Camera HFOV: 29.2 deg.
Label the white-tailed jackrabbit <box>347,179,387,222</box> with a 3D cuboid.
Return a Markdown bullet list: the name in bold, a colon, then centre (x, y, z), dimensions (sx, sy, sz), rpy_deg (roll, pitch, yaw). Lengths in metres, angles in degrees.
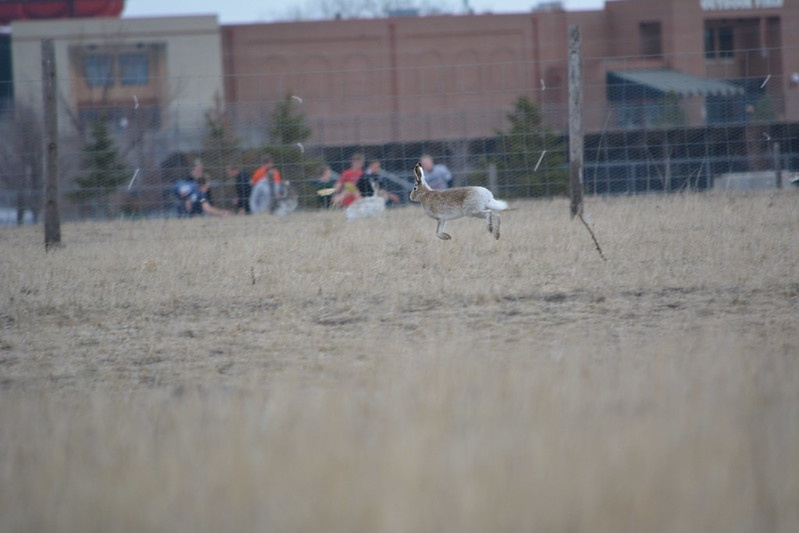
- **white-tailed jackrabbit**: centre (-0.580, -1.063, 24.171), dimensions (0.753, 0.775, 0.446), rpy_deg (-10, 6, -19)

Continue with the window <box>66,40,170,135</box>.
- **window**: centre (-4.399, -2.784, 24.657), dimensions (1.819, 1.698, 0.907), rpy_deg (-1, 4, 5)

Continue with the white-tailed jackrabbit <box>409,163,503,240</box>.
- **white-tailed jackrabbit**: centre (0.766, -0.909, 21.554), dimensions (1.483, 1.138, 0.470), rpy_deg (-3, -1, 29)

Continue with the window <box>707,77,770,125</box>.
- **window**: centre (5.369, -2.563, 24.389), dimensions (0.829, 0.778, 0.207), rpy_deg (3, -2, 26)

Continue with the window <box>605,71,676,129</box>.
- **window**: centre (3.710, -2.589, 24.123), dimensions (0.893, 1.005, 0.229), rpy_deg (-3, -7, -11)

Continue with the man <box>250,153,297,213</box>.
- **man**: centre (-1.995, -1.312, 24.345), dimensions (0.553, 0.654, 1.018), rpy_deg (-5, 15, 2)

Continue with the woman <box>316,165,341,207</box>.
- **woman**: centre (-1.163, -1.245, 24.065), dimensions (0.166, 0.216, 0.637), rpy_deg (-2, 29, 18)

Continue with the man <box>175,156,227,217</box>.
- **man**: centre (-3.176, -1.240, 24.064), dimensions (0.702, 0.853, 0.187), rpy_deg (-2, 8, -6)

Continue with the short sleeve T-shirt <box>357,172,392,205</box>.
- **short sleeve T-shirt**: centre (-0.459, -1.246, 24.252), dimensions (0.492, 0.500, 0.135), rpy_deg (-23, -8, -27)

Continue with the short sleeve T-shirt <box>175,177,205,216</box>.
- **short sleeve T-shirt**: centre (-3.360, -1.139, 24.180), dimensions (0.446, 0.596, 0.329), rpy_deg (-3, 28, -8)
